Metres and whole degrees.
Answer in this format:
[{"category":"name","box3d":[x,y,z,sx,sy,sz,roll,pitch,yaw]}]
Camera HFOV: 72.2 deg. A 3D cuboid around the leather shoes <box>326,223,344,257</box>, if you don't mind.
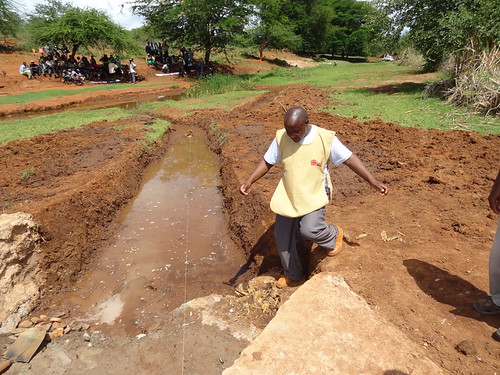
[{"category":"leather shoes","box3d":[1.230,0.758,5.013,0.221,0.459,0.198,-2,10,-40]}]
